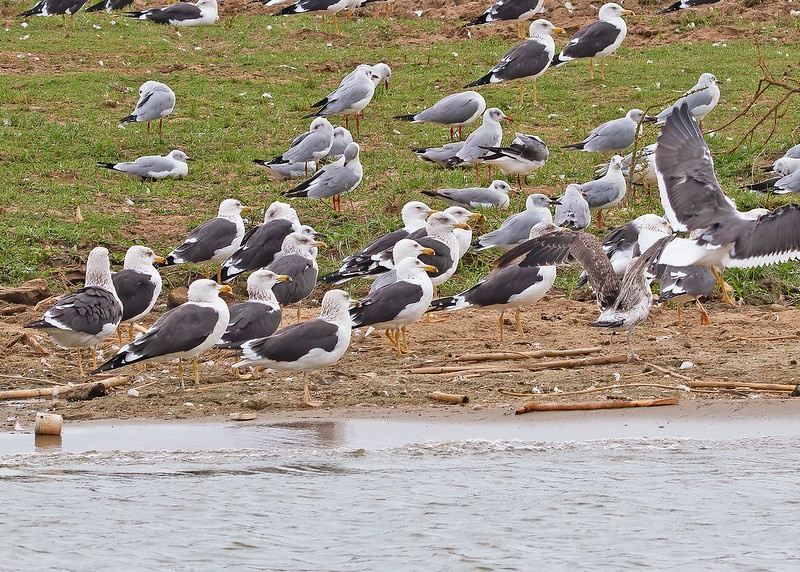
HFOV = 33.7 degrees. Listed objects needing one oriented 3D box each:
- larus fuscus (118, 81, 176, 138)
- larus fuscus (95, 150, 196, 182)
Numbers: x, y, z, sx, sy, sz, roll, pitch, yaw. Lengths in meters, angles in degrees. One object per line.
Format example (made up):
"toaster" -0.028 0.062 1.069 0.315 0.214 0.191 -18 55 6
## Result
"larus fuscus" -4.629 -3.218 23.770 0.802 0.934 1.405 9 18 30
"larus fuscus" -4.001 -2.015 21.872 2.001 0.560 0.486 5 3 -6
